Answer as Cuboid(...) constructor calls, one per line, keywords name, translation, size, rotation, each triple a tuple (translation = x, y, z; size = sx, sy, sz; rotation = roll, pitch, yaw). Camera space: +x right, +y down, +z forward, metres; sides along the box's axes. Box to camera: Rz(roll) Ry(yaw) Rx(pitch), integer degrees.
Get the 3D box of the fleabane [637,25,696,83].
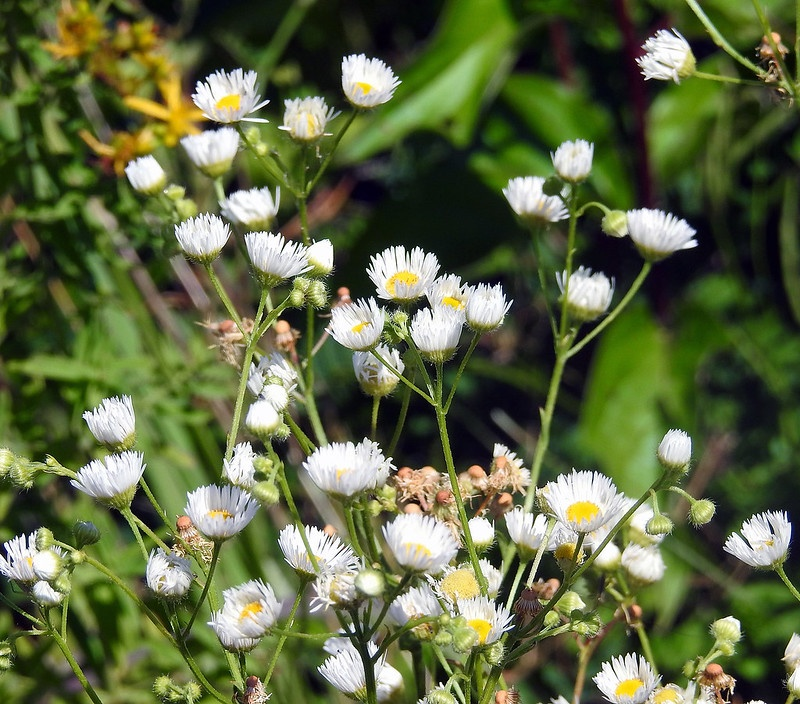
Cuboid(name="fleabane", translation=(0.396, -0.437, 1.554), size=(0.047, 0.043, 0.069), rotation=(3, 35, -25))
